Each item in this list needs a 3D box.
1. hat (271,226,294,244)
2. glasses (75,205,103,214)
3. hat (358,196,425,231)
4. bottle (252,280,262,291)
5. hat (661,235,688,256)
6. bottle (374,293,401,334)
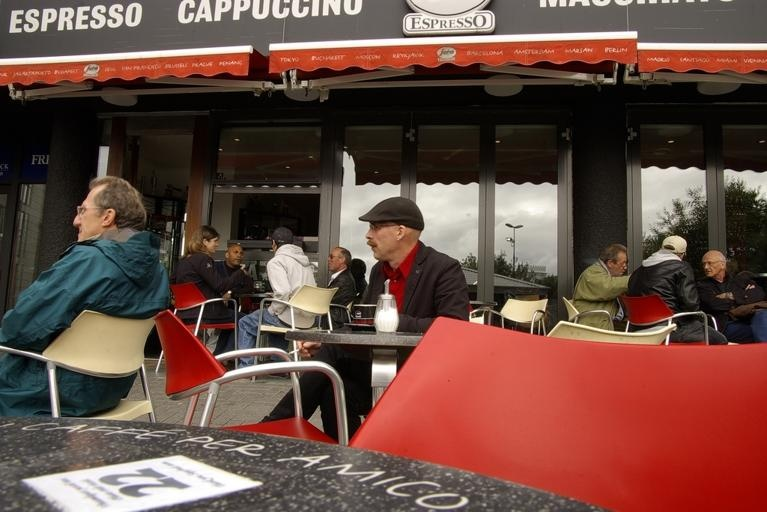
[{"bbox_3d":[-1.230,-0.249,6.779,0.191,0.247,0.249,-1,17,-28],"label":"hat"},{"bbox_3d":[-1.646,-0.256,3.053,0.153,0.045,0.147,2,2,-6],"label":"glasses"},{"bbox_3d":[0.056,-0.213,3.092,0.271,0.131,0.208,5,-6,2],"label":"hat"},{"bbox_3d":[-1.889,0.433,8.050,0.120,0.160,0.166,5,-1,9],"label":"bottle"},{"bbox_3d":[3.269,-0.128,6.192,0.259,0.224,0.388,8,7,34],"label":"hat"},{"bbox_3d":[0.008,0.291,2.688,0.161,0.212,0.159,0,-3,0],"label":"bottle"}]
